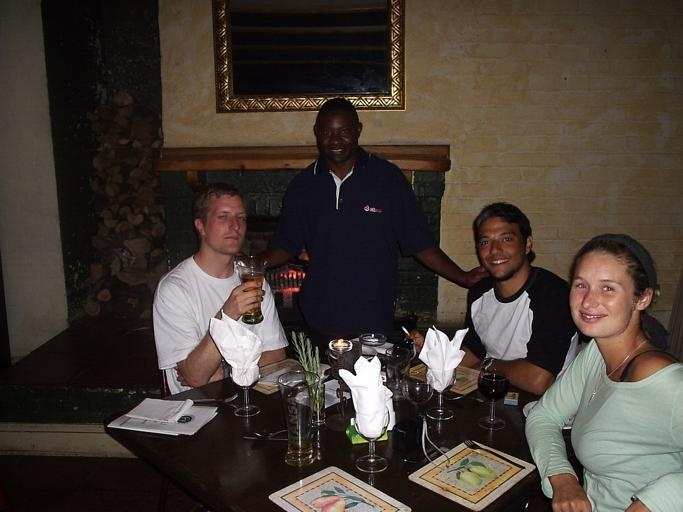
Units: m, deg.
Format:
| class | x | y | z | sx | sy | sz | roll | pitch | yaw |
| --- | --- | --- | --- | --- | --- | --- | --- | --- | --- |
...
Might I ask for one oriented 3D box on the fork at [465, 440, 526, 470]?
| class | x | y | z | sx | sy | sz | roll | pitch | yaw |
| --- | --- | --- | --- | --- | --- | --- | --- | --- | --- |
| fork | 0.578 | 0.757 | 2.186 | 0.028 | 0.021 | 0.197 | -33 | 33 | -34 |
